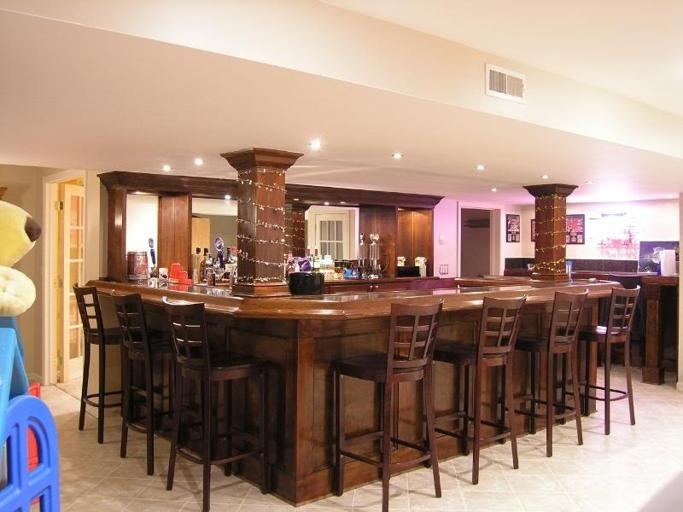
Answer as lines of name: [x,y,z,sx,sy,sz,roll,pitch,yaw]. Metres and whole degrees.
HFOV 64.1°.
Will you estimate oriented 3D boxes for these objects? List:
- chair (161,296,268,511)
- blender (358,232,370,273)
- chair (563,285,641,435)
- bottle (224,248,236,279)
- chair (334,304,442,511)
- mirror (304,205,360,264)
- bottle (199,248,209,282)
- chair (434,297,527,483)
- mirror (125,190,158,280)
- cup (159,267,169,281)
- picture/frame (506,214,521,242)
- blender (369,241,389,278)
chair: [-1.014,0.973,3.996,0.613,1.374,1.032,-2,4,-35]
blender: [0.311,-0.030,7.470,0.139,0.552,0.307,0,3,2]
chair: [2.471,0.996,5.360,0.780,1.436,0.782,0,2,14]
bottle: [-1.238,0.072,6.069,0.113,0.324,0.366,-1,3,-12]
chair: [0.386,0.977,3.836,0.729,1.366,0.898,2,4,34]
mirror: [-0.162,-0.279,7.085,0.786,0.915,0.045,2,-3,-43]
bottle: [-1.488,0.097,5.897,0.104,0.350,0.401,-1,3,-14]
chair: [1.146,0.960,4.358,0.621,1.349,0.980,3,4,41]
mirror: [-2.152,-0.352,5.881,0.115,0.651,0.406,2,3,29]
cup: [-1.921,0.199,5.935,0.115,0.132,0.116,2,6,0]
picture/frame: [2.963,-0.486,9.489,0.494,0.688,0.050,0,1,-41]
blender: [0.510,0.041,7.593,0.253,0.481,0.145,-1,3,-18]
